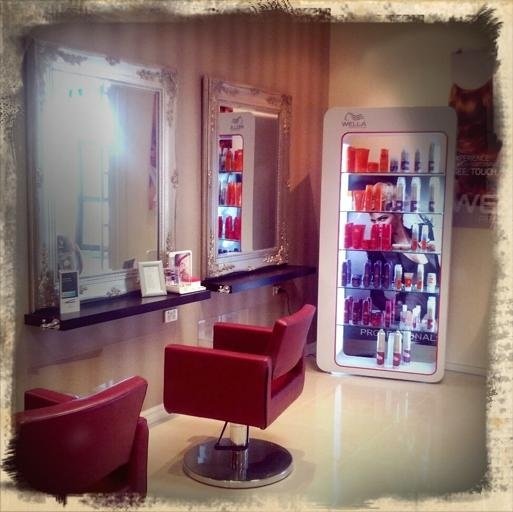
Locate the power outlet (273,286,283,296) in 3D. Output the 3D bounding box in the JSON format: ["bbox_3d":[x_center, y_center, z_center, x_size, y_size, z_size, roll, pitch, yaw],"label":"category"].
[{"bbox_3d":[0.183,0.303,4.386,0.017,0.077,0.072,7,6,39],"label":"power outlet"}]

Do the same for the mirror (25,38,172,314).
[{"bbox_3d":[-0.814,-0.428,2.781,0.852,1.353,0.050,-7,14,-43],"label":"mirror"}]

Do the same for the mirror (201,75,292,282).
[{"bbox_3d":[-0.102,-0.613,3.766,0.120,1.822,1.402,3,6,30],"label":"mirror"}]

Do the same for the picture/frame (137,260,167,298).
[{"bbox_3d":[-0.633,0.137,2.966,0.023,0.238,0.166,-16,-5,43],"label":"picture/frame"}]
